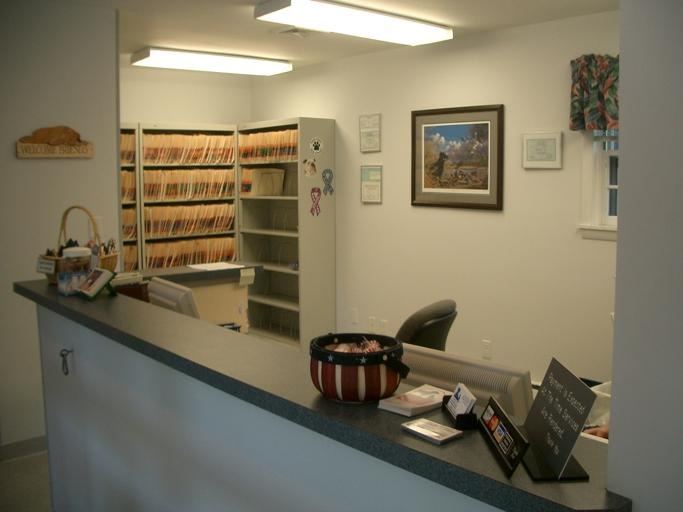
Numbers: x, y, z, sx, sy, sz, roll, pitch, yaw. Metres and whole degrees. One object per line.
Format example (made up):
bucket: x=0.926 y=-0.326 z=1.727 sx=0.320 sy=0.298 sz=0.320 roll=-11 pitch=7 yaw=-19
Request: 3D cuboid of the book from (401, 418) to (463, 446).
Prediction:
book: x=0.228 y=0.433 z=1.258 sx=0.137 sy=0.018 sz=0.102 roll=10 pitch=13 yaw=37

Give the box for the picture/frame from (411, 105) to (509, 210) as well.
picture/frame: x=1.179 y=-0.962 z=4.816 sx=0.854 sy=1.042 sz=0.069 roll=5 pitch=6 yaw=43

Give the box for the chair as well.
chair: x=0.613 y=0.447 z=3.335 sx=0.374 sy=0.575 sz=0.361 roll=9 pitch=12 yaw=42

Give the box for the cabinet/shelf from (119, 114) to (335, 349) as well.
cabinet/shelf: x=-1.543 y=-0.358 z=6.659 sx=2.084 sy=3.812 sz=2.539 roll=4 pitch=4 yaw=42

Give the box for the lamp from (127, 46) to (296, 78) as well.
lamp: x=-1.396 y=-2.108 z=5.419 sx=1.631 sy=0.190 sz=0.553 roll=-3 pitch=11 yaw=-30

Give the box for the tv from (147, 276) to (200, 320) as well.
tv: x=-0.907 y=0.216 z=2.661 sx=0.054 sy=0.175 sz=0.266 roll=-5 pitch=15 yaw=-40

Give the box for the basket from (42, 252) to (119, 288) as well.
basket: x=-1.572 y=0.067 z=3.012 sx=0.319 sy=0.208 sz=0.418 roll=7 pitch=11 yaw=43

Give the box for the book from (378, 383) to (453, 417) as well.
book: x=0.216 y=0.405 z=1.427 sx=0.150 sy=0.031 sz=0.227 roll=9 pitch=12 yaw=33
